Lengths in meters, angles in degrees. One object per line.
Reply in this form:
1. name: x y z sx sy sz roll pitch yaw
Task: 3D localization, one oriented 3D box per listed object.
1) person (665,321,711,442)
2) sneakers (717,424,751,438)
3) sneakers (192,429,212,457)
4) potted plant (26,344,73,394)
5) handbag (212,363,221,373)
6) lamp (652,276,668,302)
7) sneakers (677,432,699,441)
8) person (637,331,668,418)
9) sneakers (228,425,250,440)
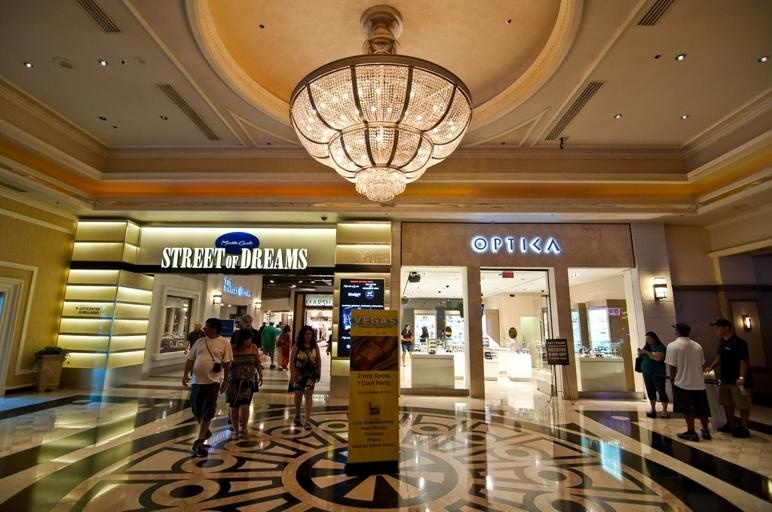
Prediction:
1. person: 5.650 2.328 7.949 0.732 1.799 0.503 0 1 -16
2. sneakers: 6.578 3.259 8.158 0.217 0.235 0.576 -1 -6 0
3. sneakers: -3.058 3.150 7.166 0.200 0.203 0.494 2 -4 -6
4. potted plant: -8.199 2.854 10.642 0.903 1.160 0.864 7 -26 -30
5. handbag: -2.784 1.842 7.044 0.167 0.129 0.118 4 30 -9
6. lamp: 6.858 0.843 10.698 0.381 0.451 0.119 1 1 -1
7. sneakers: 5.526 3.266 7.838 0.288 0.119 0.176 -3 -6 38
8. person: 5.816 2.543 9.246 0.747 1.448 0.659 0 1 -34
9. sneakers: -2.638 3.184 7.726 0.150 0.124 0.305 2 -4 -6
